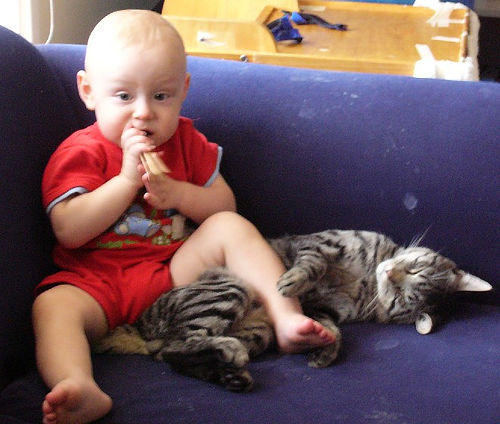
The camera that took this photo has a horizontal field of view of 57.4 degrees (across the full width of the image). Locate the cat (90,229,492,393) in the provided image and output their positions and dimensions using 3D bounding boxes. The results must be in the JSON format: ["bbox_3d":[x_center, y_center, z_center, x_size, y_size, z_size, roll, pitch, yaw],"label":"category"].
[{"bbox_3d":[0.129,0.198,1.042,0.643,0.189,0.393,-6,-7,7],"label":"cat"}]
